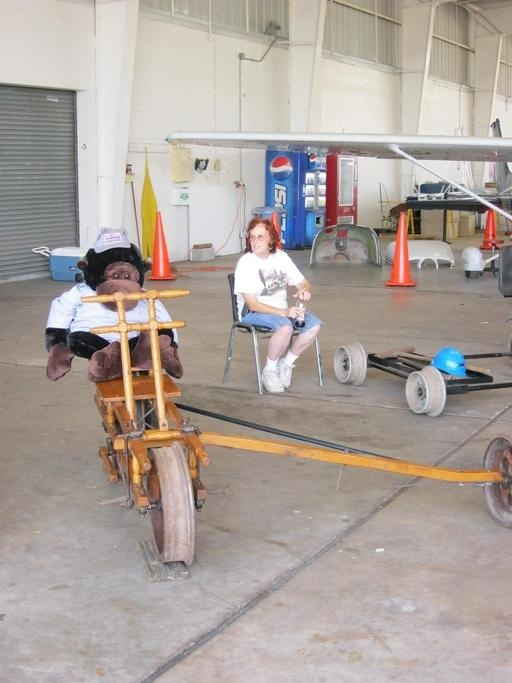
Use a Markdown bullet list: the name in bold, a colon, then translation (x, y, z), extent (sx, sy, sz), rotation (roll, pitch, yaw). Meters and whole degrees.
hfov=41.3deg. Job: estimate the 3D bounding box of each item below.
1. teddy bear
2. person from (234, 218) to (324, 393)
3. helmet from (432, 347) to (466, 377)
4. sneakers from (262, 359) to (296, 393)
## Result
- **teddy bear**: translation (-0.762, -0.201, 3.522), extent (0.660, 0.750, 0.747), rotation (-3, 11, -17)
- **person**: translation (0.121, -0.269, 5.100), extent (0.702, 1.287, 0.495), rotation (4, 12, 21)
- **helmet**: translation (1.334, 0.146, 4.641), extent (0.249, 0.126, 0.187), rotation (24, 12, 28)
- **sneakers**: translation (0.154, 0.273, 5.135), extent (0.175, 0.263, 0.207), rotation (-2, -11, -15)
